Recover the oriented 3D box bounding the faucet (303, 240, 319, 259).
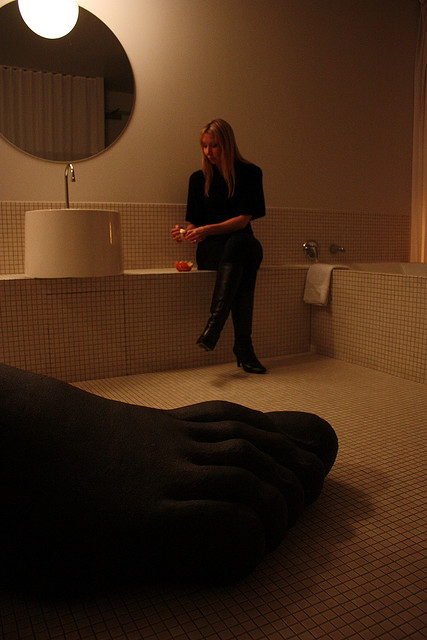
[{"bbox_3d":[0.569,-0.415,2.978,0.101,0.125,0.104,-3,22,18],"label":"faucet"}]

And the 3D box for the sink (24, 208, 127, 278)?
[{"bbox_3d":[-0.500,-0.267,1.833,0.363,0.228,0.353,-4,7,-23],"label":"sink"}]

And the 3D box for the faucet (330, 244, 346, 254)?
[{"bbox_3d":[0.757,-0.432,3.126,0.044,0.071,0.078,-6,11,-19],"label":"faucet"}]

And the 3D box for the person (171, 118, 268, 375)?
[{"bbox_3d":[0.035,-0.391,2.261,0.445,1.161,0.830,0,7,-5],"label":"person"}]

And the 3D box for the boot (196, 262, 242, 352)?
[{"bbox_3d":[0.021,-0.060,1.979,0.096,0.333,0.128,11,-3,36],"label":"boot"}]
